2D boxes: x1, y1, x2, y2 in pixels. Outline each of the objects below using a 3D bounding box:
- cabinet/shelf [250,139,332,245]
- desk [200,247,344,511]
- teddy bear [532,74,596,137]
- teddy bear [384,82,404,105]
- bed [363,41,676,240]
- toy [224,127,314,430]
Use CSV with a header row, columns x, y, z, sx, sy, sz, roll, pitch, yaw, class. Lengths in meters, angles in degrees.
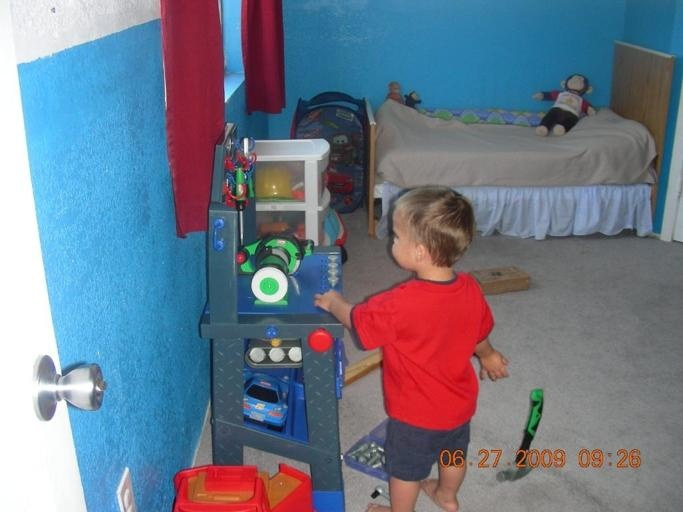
x,y,z,sx,sy,sz,roll,pitch,yaw,class
-0.198,-0.336,2.866,0.427,0.640,0.453,2,18,5,cabinet/shelf
-0.225,0.404,1.847,0.379,0.759,0.594,-1,31,-1,desk
1.948,-1.372,4.873,0.543,0.238,0.711,3,2,7,teddy bear
0.453,-1.423,4.917,0.153,0.329,0.128,8,-35,-7,teddy bear
1.450,-0.821,4.662,1.784,1.221,1.651,0,29,-1,bed
-0.245,0.141,1.938,0.289,1.060,0.575,2,6,-3,toy
